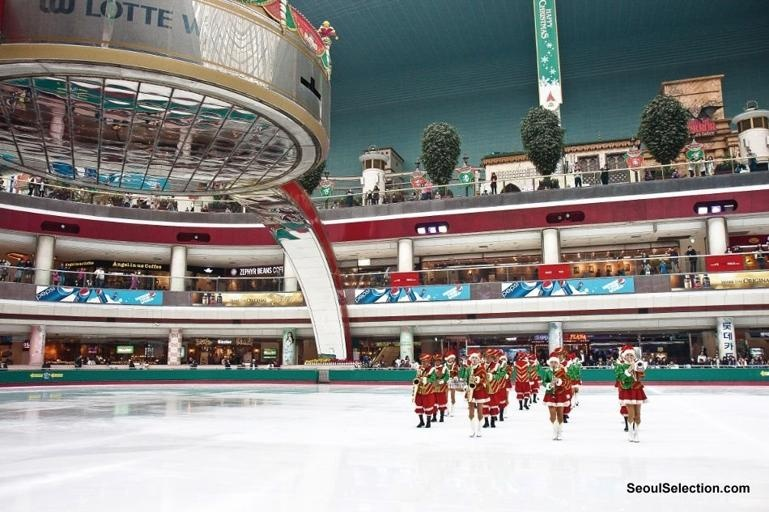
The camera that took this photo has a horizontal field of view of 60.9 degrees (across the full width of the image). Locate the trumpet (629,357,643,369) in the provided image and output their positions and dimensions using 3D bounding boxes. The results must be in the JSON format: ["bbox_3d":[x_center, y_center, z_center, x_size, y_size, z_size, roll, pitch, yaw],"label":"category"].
[{"bbox_3d":[6.621,2.838,16.947,0.284,0.253,0.309,-6,-8,29],"label":"trumpet"}]
